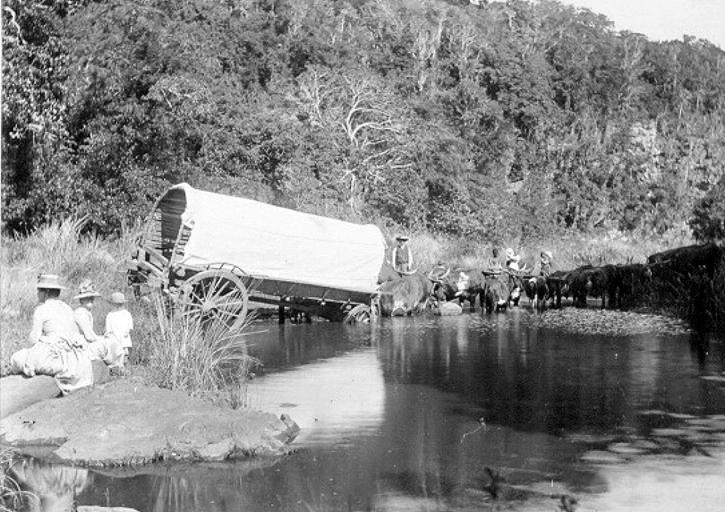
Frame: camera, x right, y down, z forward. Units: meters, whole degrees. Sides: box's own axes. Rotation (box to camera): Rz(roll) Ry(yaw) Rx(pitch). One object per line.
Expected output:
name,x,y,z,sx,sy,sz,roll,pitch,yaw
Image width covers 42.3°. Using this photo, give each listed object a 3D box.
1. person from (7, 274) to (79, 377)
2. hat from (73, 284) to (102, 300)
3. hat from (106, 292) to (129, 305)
person,-5.549,1.184,16.424,1.090,1.778,1.038,4,5,29
hat,-5.667,0.763,19.258,0.329,0.155,0.364,-8,-8,6
hat,-5.142,0.909,19.625,0.305,0.160,0.363,-1,7,-24
